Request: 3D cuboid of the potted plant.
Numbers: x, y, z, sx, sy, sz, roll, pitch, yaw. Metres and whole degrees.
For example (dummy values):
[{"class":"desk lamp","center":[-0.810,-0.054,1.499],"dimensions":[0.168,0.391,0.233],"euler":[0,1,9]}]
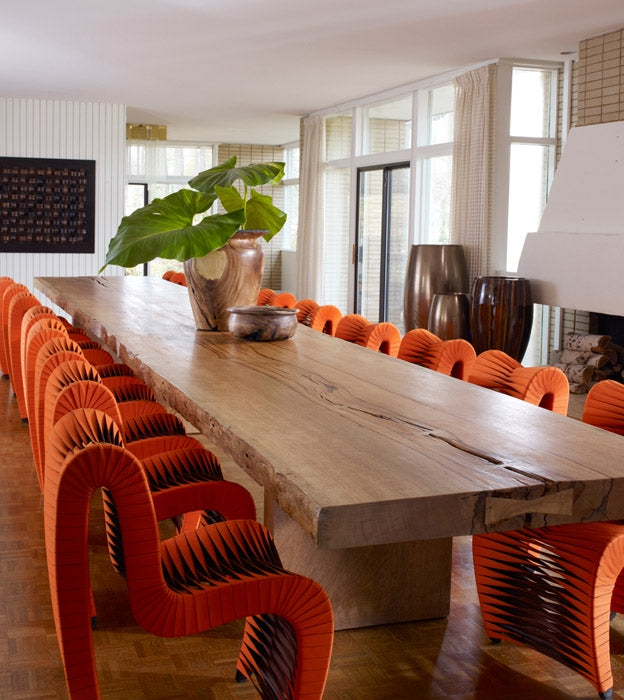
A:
[{"class":"potted plant","center":[-0.416,-0.462,2.347],"dimensions":[0.864,0.518,0.816],"euler":[-3,11,-11]}]
